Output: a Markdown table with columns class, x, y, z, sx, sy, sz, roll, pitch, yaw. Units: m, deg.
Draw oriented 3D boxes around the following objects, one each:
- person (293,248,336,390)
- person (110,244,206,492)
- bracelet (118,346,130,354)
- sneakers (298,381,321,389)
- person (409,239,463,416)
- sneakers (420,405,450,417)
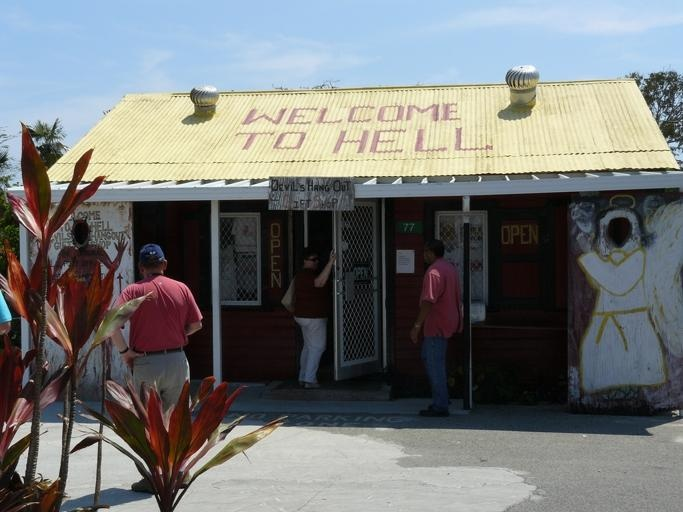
| class | x | y | z | sx | sy | sz | roll | pitch | yaw |
| --- | --- | --- | --- | --- | --- | --- | --- | --- | --- |
| person | -0.397 | 0.908 | 13.645 | 0.583 | 1.917 | 0.869 | -2 | 2 | -5 |
| person | -1.894 | 0.753 | 9.891 | 0.859 | 1.706 | 0.337 | -2 | 2 | -16 |
| bracelet | -2.243 | 0.978 | 9.797 | 0.095 | 0.089 | 0.104 | -1 | 2 | 5 |
| sneakers | -0.459 | 1.832 | 13.571 | 0.288 | 0.137 | 0.104 | -1 | 3 | -8 |
| person | 1.223 | 0.945 | 12.350 | 0.413 | 2.268 | 0.761 | 0 | 2 | 43 |
| sneakers | 1.205 | 2.028 | 12.438 | 0.383 | 0.182 | 0.151 | 4 | 1 | 6 |
